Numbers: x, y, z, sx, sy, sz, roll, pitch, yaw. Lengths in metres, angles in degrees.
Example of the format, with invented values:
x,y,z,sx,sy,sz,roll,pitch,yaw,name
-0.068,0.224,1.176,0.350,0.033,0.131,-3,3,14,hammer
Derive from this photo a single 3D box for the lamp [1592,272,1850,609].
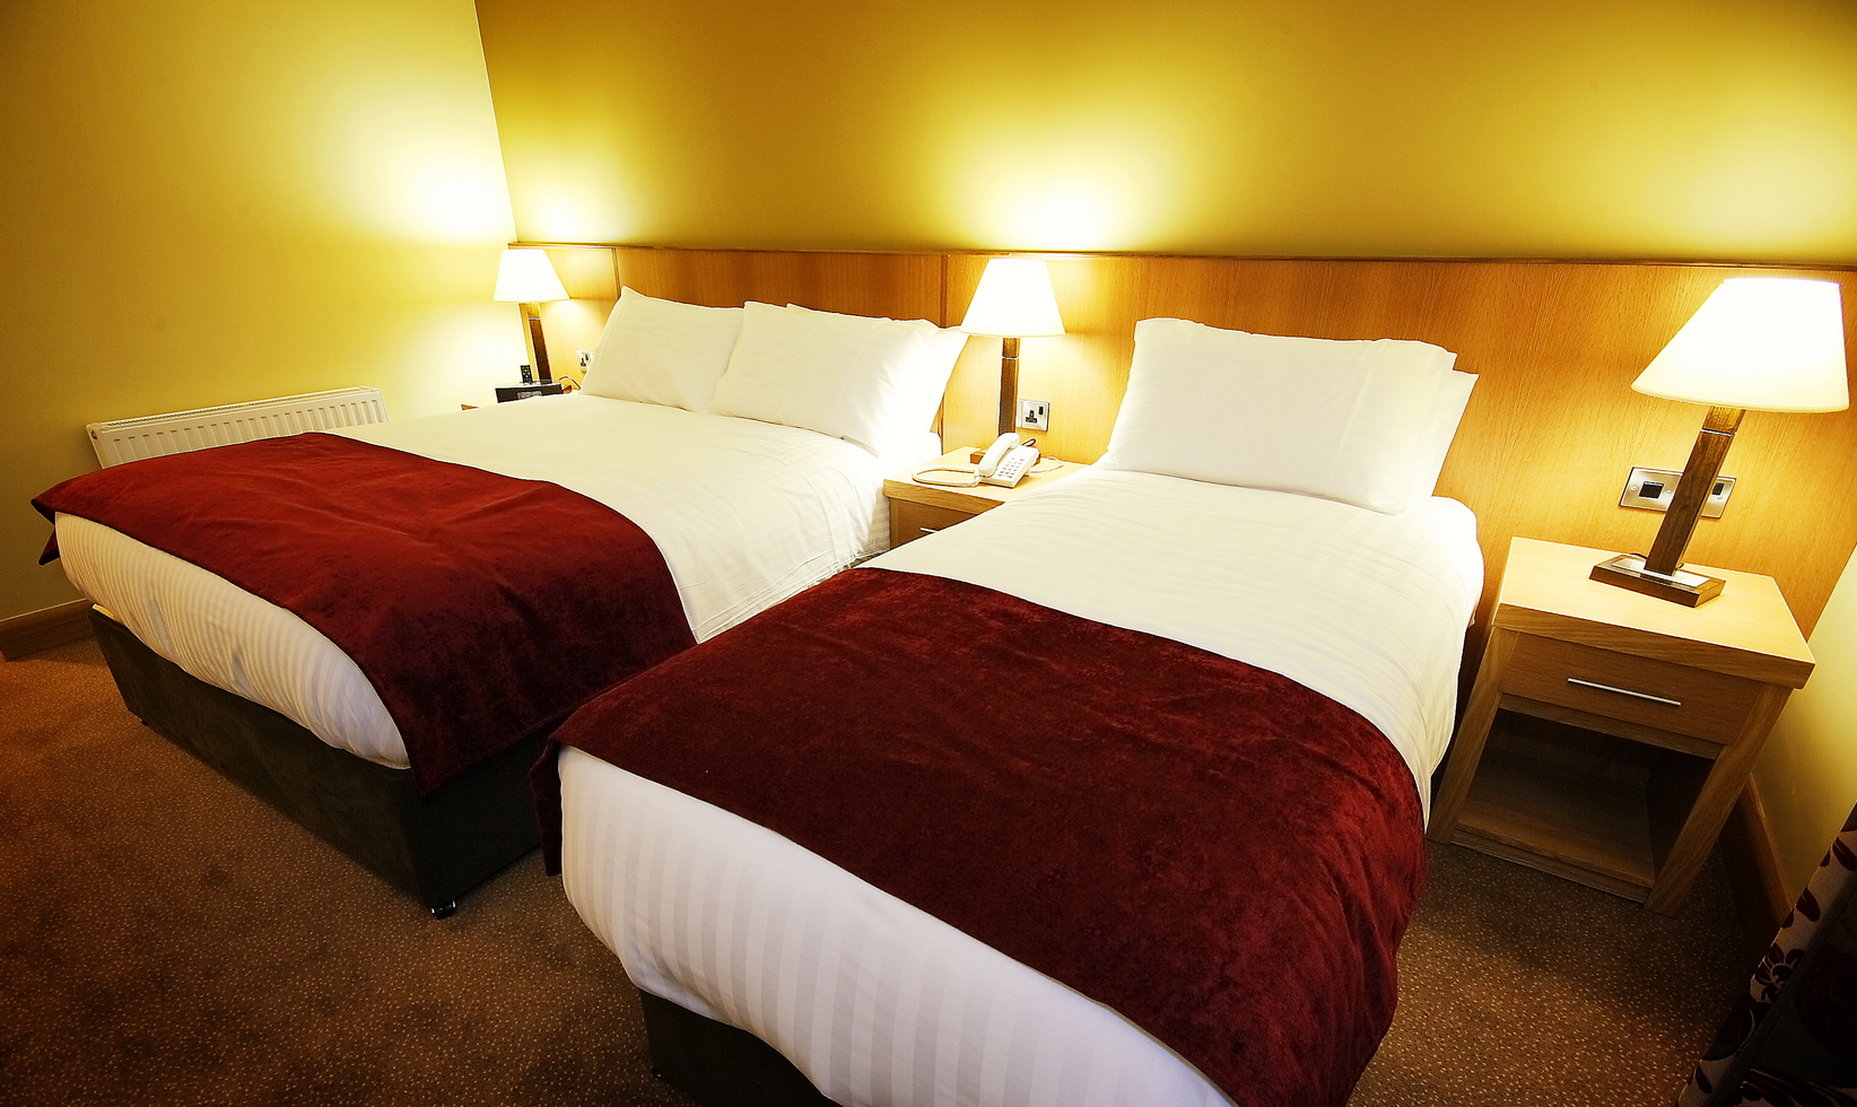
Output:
x,y,z,sx,sy,sz,roll,pitch,yaw,name
2.586,-0.362,3.525,0.561,1.060,0.281,18,23,28,lamp

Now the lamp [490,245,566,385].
x,y,z,sx,sy,sz,roll,pitch,yaw,name
-2.117,-1.262,5.788,0.348,0.715,0.629,0,20,-18,lamp

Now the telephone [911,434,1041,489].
x,y,z,sx,sy,sz,roll,pitch,yaw,name
0.249,-0.343,4.393,0.328,0.106,0.332,8,16,43,telephone

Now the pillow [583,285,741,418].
x,y,z,sx,sy,sz,roll,pitch,yaw,name
-1.204,-0.932,5.077,0.731,0.564,0.197,13,-10,25,pillow

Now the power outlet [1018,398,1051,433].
x,y,z,sx,sy,sz,roll,pitch,yaw,name
0.468,-0.602,4.694,0.134,0.128,0.027,10,21,30,power outlet

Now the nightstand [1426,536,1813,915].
x,y,z,sx,sy,sz,roll,pitch,yaw,name
2.337,0.590,3.604,0.840,1.111,0.770,16,27,25,nightstand

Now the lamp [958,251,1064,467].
x,y,z,sx,sy,sz,roll,pitch,yaw,name
0.363,-0.846,4.512,0.360,0.765,0.332,18,23,28,lamp

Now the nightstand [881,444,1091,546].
x,y,z,sx,sy,sz,roll,pitch,yaw,name
0.201,-0.268,4.454,0.472,0.366,0.499,17,32,36,nightstand
